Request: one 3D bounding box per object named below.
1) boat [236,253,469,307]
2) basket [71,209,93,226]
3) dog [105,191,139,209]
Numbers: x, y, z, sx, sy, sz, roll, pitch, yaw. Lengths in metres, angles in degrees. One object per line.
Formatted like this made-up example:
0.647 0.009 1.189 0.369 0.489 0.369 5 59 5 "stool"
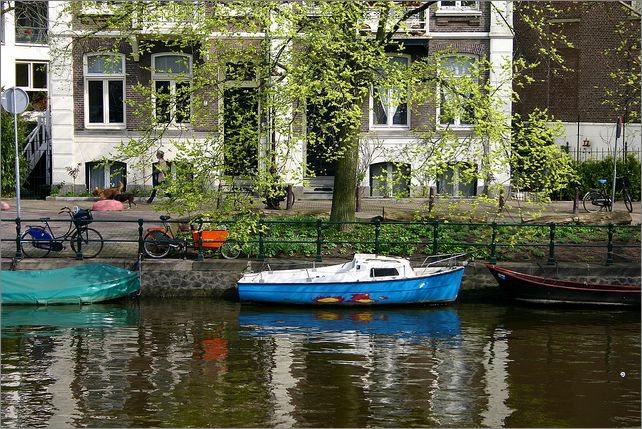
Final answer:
1.219 2.587 40.132 11.998 2.108 4.215 0 -1 -1 "boat"
-8.136 0.125 41.644 0.806 0.603 0.580 -3 8 5 "basket"
-8.034 -0.553 49.153 1.171 0.594 1.286 0 -1 -8 "dog"
